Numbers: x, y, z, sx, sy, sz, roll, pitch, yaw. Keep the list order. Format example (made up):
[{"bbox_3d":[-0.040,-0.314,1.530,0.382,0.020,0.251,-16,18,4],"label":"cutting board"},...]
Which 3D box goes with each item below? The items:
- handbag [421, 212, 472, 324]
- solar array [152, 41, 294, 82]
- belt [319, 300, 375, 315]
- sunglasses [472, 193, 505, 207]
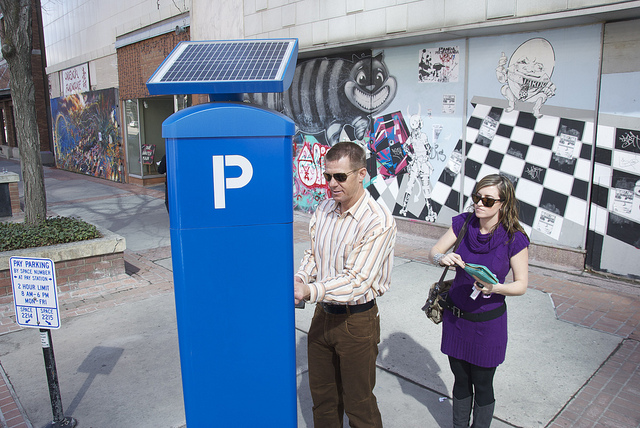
[{"bbox_3d":[1.440,0.584,4.496,0.496,1.179,0.227,4,12,-40],"label":"handbag"},{"bbox_3d":[-0.776,-1.272,3.480,1.065,0.401,0.580,0,12,0],"label":"solar array"},{"bbox_3d":[0.256,0.877,3.907,0.494,0.123,0.120,1,12,4],"label":"belt"},{"bbox_3d":[1.679,-0.134,4.118,0.305,0.120,0.100,4,12,16],"label":"sunglasses"}]
